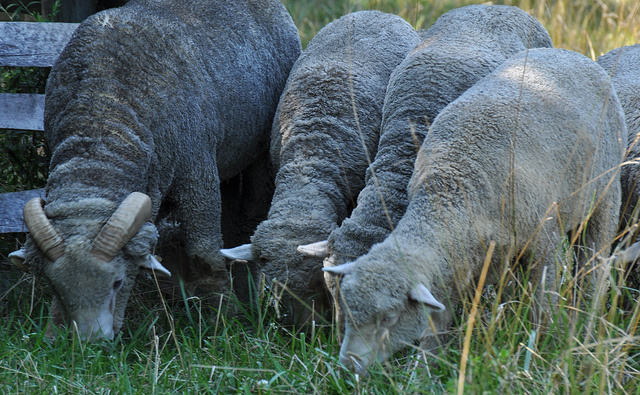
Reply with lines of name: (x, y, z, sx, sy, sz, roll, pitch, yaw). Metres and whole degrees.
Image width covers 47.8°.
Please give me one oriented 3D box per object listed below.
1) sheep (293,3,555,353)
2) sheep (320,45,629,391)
sheep: (0.747, -0.064, 5.044, 0.856, 2.807, 1.466, 11, -35, 47)
sheep: (1.161, 0.085, 4.791, 1.873, 2.185, 1.063, 9, 4, -6)
